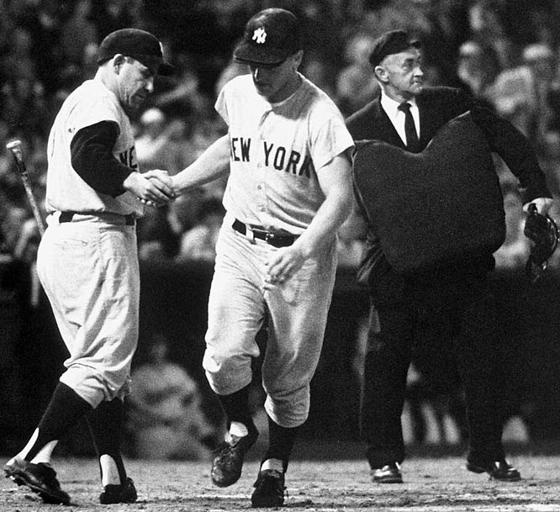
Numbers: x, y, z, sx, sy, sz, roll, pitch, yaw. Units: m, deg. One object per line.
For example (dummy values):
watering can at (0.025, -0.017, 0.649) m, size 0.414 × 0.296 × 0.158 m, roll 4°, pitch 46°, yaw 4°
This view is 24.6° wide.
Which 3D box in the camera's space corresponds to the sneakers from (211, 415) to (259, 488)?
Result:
sneakers at (-0.249, 1.083, 7.004) m, size 0.201 × 0.406 × 0.178 m, roll 22°, pitch -18°, yaw 21°

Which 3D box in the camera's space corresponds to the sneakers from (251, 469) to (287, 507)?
sneakers at (-0.050, 1.217, 6.738) m, size 0.147 × 0.196 × 0.208 m, roll 5°, pitch -25°, yaw -5°

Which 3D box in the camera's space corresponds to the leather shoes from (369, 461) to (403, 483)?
leather shoes at (0.639, 1.261, 7.466) m, size 0.158 × 0.120 × 0.126 m, roll 24°, pitch -38°, yaw -16°

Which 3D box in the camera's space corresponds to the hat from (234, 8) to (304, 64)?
hat at (-0.058, -1.128, 6.638) m, size 0.358 × 0.283 × 0.337 m, roll -2°, pitch 11°, yaw -6°

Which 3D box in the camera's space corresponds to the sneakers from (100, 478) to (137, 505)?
sneakers at (-0.849, 1.264, 6.876) m, size 0.092 × 0.091 × 0.235 m, roll 0°, pitch 4°, yaw 22°

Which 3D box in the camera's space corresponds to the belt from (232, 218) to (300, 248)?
belt at (-0.087, -0.104, 6.740) m, size 0.225 × 0.053 × 0.159 m, roll 16°, pitch -2°, yaw 3°

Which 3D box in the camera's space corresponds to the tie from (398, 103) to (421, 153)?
tie at (0.745, -0.723, 7.327) m, size 0.107 × 0.269 × 0.075 m, roll -7°, pitch 8°, yaw -5°

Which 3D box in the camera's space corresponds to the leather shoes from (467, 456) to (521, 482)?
leather shoes at (1.242, 1.236, 7.460) m, size 0.341 × 0.139 × 0.127 m, roll -1°, pitch -1°, yaw 23°

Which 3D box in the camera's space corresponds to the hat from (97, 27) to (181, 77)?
hat at (-0.772, -1.113, 6.919) m, size 0.469 × 0.198 × 0.297 m, roll 5°, pitch 4°, yaw 0°
